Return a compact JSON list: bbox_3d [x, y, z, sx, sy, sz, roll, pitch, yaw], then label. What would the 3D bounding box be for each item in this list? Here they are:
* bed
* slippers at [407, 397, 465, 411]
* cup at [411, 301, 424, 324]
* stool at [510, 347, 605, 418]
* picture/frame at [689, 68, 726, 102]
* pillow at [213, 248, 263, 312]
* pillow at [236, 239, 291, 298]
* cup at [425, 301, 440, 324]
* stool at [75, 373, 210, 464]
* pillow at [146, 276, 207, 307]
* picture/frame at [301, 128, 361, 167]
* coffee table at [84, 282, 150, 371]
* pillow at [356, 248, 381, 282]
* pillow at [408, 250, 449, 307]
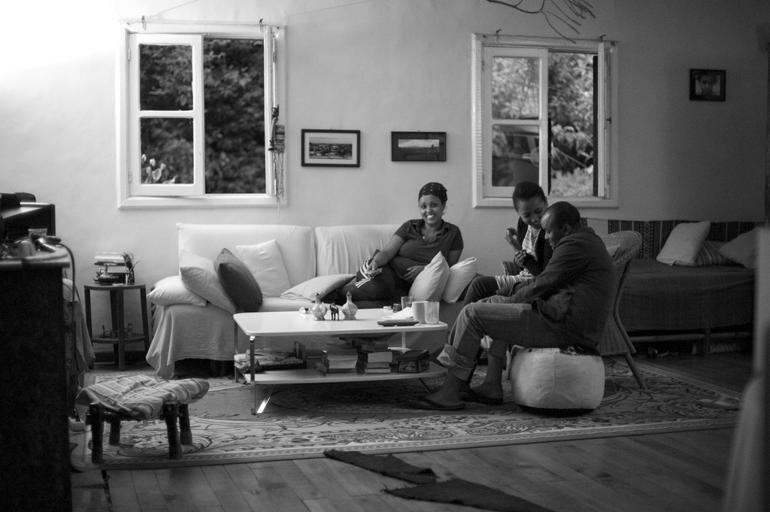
[{"bbox_3d":[2.798,0.317,5.664,1.415,0.351,1.350,-14,7,-40],"label":"bed"},{"bbox_3d":[0.327,0.936,3.793,0.291,0.064,0.119,1,-3,10],"label":"slippers"},{"bbox_3d":[0.218,0.374,3.883,0.104,0.118,0.123,-1,-1,3],"label":"cup"},{"bbox_3d":[1.088,0.797,3.835,0.582,0.379,0.584,-6,-15,35],"label":"stool"},{"bbox_3d":[3.377,-1.805,6.385,0.397,0.314,0.031,0,6,-9],"label":"picture/frame"},{"bbox_3d":[-1.162,0.180,4.901,0.305,0.421,0.599,-13,16,-13],"label":"pillow"},{"bbox_3d":[-1.009,0.114,5.203,0.144,0.445,0.479,-23,5,31],"label":"pillow"},{"bbox_3d":[0.305,0.373,4.047,0.109,0.129,0.136,2,4,24],"label":"cup"},{"bbox_3d":[-1.221,0.812,3.036,0.705,0.296,0.697,-5,-12,33],"label":"stool"},{"bbox_3d":[-1.594,0.290,4.613,0.298,0.090,0.302,3,12,-1],"label":"pillow"},{"bbox_3d":[-0.540,-1.014,5.697,0.408,0.266,0.017,0,5,-5],"label":"picture/frame"},{"bbox_3d":[-2.295,0.576,5.154,0.449,0.544,0.413,-3,5,-4],"label":"coffee table"},{"bbox_3d":[-0.127,0.090,5.048,0.247,0.071,0.215,-43,5,-18],"label":"pillow"},{"bbox_3d":[0.399,0.272,5.097,0.310,0.236,0.689,-18,-31,10],"label":"pillow"}]
